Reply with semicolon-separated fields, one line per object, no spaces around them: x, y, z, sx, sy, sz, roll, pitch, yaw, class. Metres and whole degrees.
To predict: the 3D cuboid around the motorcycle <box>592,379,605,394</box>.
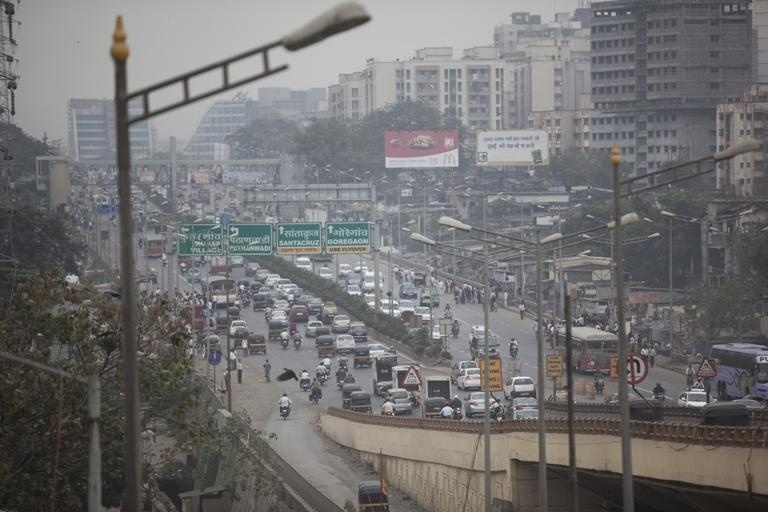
23.622;14.374;215.148;1.030;1.078;1.764;-1;-3;0;motorcycle
